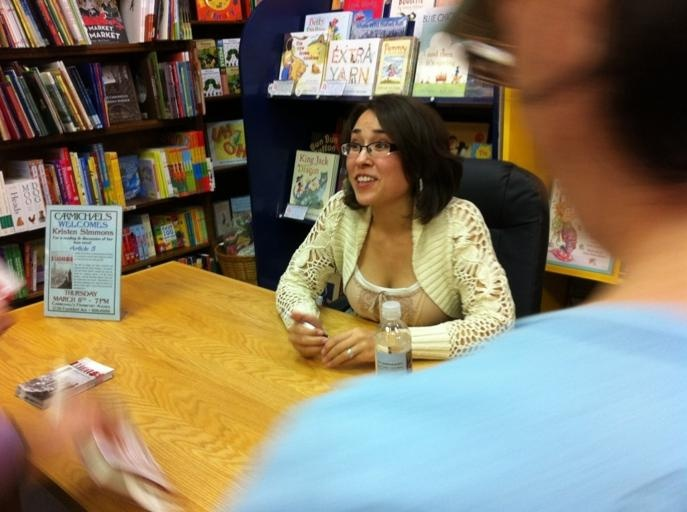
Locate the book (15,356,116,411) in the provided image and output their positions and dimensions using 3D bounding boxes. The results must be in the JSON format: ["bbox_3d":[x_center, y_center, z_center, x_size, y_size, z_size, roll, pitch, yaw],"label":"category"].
[{"bbox_3d":[-0.747,0.331,1.197,0.186,0.048,0.200,15,27,32],"label":"book"}]

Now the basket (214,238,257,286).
[{"bbox_3d":[-0.843,0.048,3.619,0.345,0.288,0.327,3,12,22],"label":"basket"}]

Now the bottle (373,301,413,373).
[{"bbox_3d":[0.130,0.240,1.124,0.084,0.306,0.077,-6,31,4],"label":"bottle"}]

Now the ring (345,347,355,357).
[{"bbox_3d":[0.019,0.263,1.205,0.018,0.014,0.019,-11,22,5],"label":"ring"}]
